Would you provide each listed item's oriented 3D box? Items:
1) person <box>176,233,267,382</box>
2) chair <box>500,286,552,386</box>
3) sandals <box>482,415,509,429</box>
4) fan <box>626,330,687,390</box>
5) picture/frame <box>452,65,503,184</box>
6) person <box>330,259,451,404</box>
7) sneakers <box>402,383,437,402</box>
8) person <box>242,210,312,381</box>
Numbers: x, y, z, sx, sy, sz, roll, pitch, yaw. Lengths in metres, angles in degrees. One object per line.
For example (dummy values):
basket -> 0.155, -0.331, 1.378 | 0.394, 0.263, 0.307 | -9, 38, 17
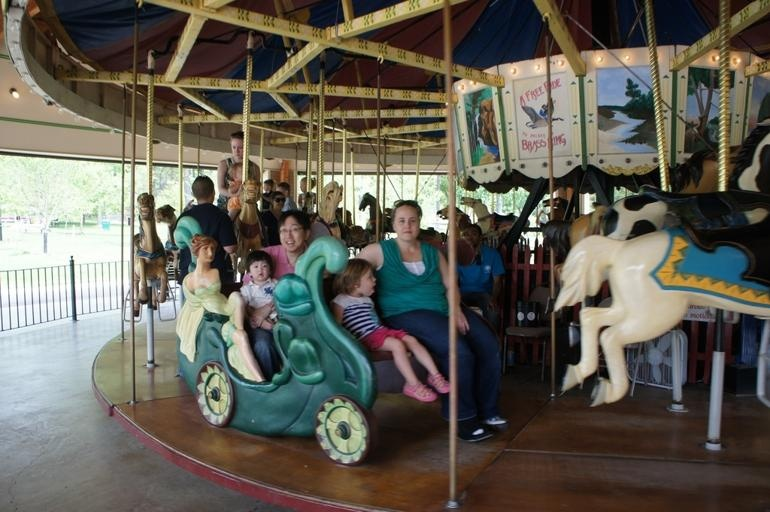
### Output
person -> -1.529, 0.329, 5.461 | 0.546, 0.960, 1.593 | -11, 22, -22
chair -> 1.531, 0.768, 6.772 | 0.455, 0.854, 0.516 | -1, 1, 45
sandals -> 0.895, 1.341, 5.195 | 0.219, 0.102, 0.085 | -5, -1, 41
fan -> 2.583, 0.924, 6.089 | 0.567, 0.673, 0.543 | 5, 13, 18
picture/frame -> 1.140, -1.560, 8.158 | 0.423, 1.276, 0.978 | -3, 13, -18
person -> 0.034, 0.538, 5.044 | 0.930, 0.981, 0.297 | 7, 14, 25
sneakers -> 0.273, 1.031, 4.929 | 0.222, 0.099, 0.126 | 3, 2, 30
person -> -0.802, 0.357, 5.538 | 0.652, 1.508, 0.816 | -1, 14, -8
